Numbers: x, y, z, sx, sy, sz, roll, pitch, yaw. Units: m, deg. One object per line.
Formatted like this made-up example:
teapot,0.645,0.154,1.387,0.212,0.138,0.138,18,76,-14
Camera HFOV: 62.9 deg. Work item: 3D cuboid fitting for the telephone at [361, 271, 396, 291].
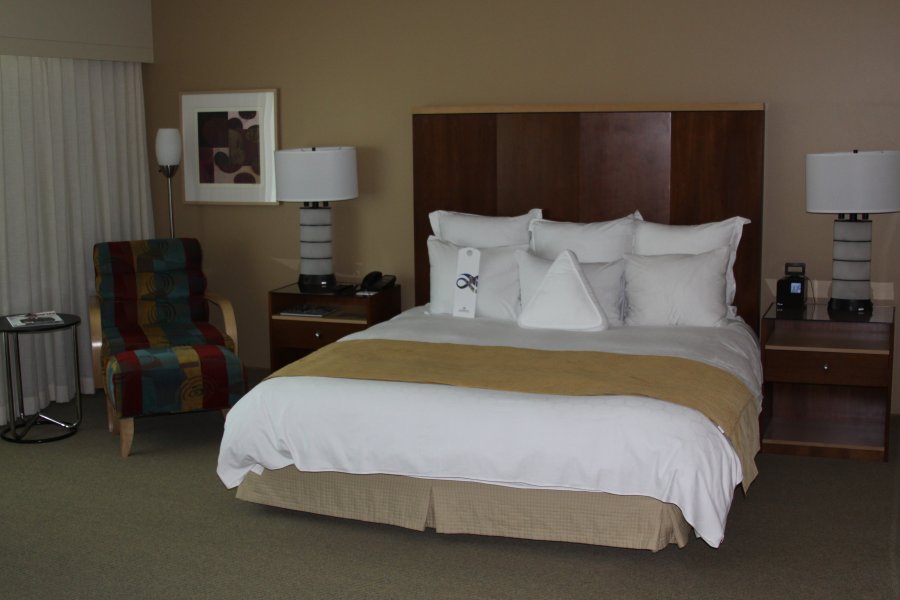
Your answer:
telephone,-0.603,-0.154,6.149,0.156,0.092,0.233,5,11,21

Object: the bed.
bed,0.509,-0.076,4.937,2.982,2.415,2.977,4,13,23

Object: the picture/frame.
picture/frame,-1.956,-1.426,6.626,0.966,1.228,0.089,1,4,10

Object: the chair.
chair,-2.269,0.305,5.750,1.058,1.374,1.680,-2,11,-27

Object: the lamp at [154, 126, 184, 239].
lamp,-2.530,-1.059,6.686,0.240,0.990,0.414,-6,13,-22

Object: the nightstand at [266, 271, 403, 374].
nightstand,-1.025,0.287,6.302,0.876,0.816,0.734,3,2,3

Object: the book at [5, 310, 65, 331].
book,-3.040,0.141,5.377,0.369,0.056,0.460,-10,15,-33
